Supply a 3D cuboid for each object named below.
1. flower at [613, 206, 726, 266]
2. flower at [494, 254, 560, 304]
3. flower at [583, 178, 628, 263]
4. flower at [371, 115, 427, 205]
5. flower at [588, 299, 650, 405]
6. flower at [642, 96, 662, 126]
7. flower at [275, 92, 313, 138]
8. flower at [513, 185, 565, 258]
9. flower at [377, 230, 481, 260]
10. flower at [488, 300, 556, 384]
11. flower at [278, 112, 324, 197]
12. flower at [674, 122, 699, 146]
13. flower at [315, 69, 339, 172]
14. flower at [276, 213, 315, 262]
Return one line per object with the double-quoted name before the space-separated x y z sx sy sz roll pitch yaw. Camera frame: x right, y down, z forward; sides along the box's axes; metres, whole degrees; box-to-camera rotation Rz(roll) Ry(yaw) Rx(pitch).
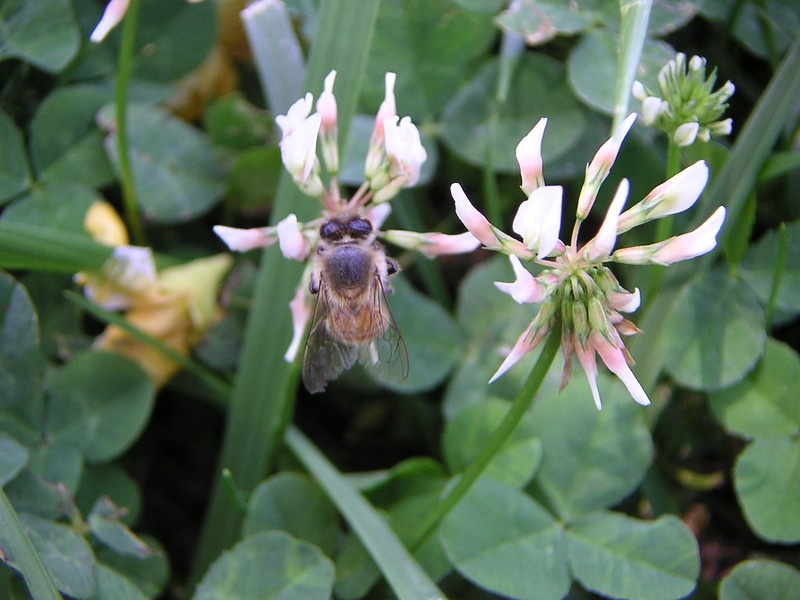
"flower" 0.539 -0.089 1.546 0.233 0.068 0.110 -16 40 28
"flower" 0.239 -0.025 1.456 0.099 0.097 0.043 7 52 -50
"flower" 0.386 -0.135 1.472 0.052 0.200 0.055 25 46 8
"flower" -0.004 -0.309 1.738 0.109 0.235 0.164 4 22 -4
"flower" 0.434 0.105 1.529 0.065 0.220 0.066 -17 26 16
"flower" 0.549 -0.411 1.672 0.044 0.062 0.055 10 22 9
"flower" -0.235 -0.413 1.677 0.066 0.097 0.143 2 23 -10
"flower" 0.262 -0.150 1.453 0.084 0.151 0.084 11 22 12
"flower" 0.073 -0.156 1.852 0.209 0.077 0.095 2 14 5
"flower" 0.296 0.109 1.859 0.053 0.225 0.061 34 2 0
"flower" -0.216 -0.318 1.666 0.124 0.152 0.070 17 43 1
"flower" 0.625 -0.361 1.679 0.050 0.064 0.071 14 23 19
"flower" -0.166 -0.400 1.775 0.062 0.263 0.072 -2 -7 -20
"flower" -0.231 -0.136 1.696 0.073 0.101 0.046 -26 49 -19
